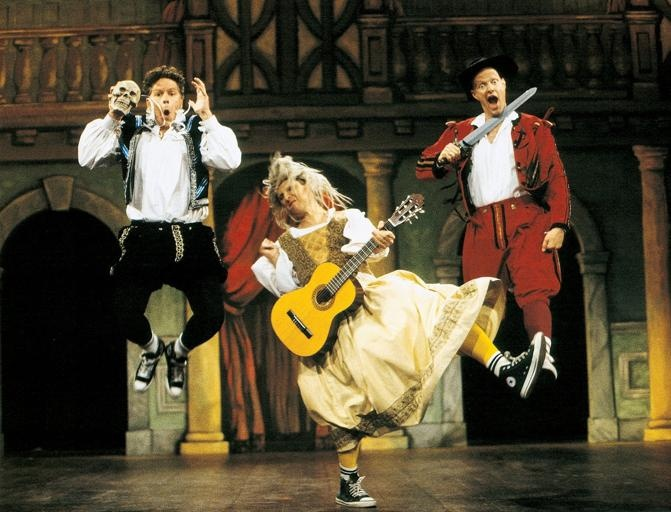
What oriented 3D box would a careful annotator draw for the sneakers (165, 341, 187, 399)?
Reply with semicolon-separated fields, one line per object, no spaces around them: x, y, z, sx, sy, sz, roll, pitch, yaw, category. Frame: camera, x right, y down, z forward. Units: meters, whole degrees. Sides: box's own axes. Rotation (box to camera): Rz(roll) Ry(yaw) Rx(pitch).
-1.263;0.951;11.833;0.182;0.470;0.206;-1;-8;-28;sneakers

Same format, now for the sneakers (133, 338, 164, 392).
-1.544;0.934;11.787;0.204;0.492;0.207;17;-16;-10;sneakers

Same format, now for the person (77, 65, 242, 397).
-1.373;-0.224;11.564;1.217;2.625;0.766;-2;-8;3;person

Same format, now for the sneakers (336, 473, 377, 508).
0.222;1.903;11.389;0.173;0.219;0.420;8;-14;-32;sneakers
